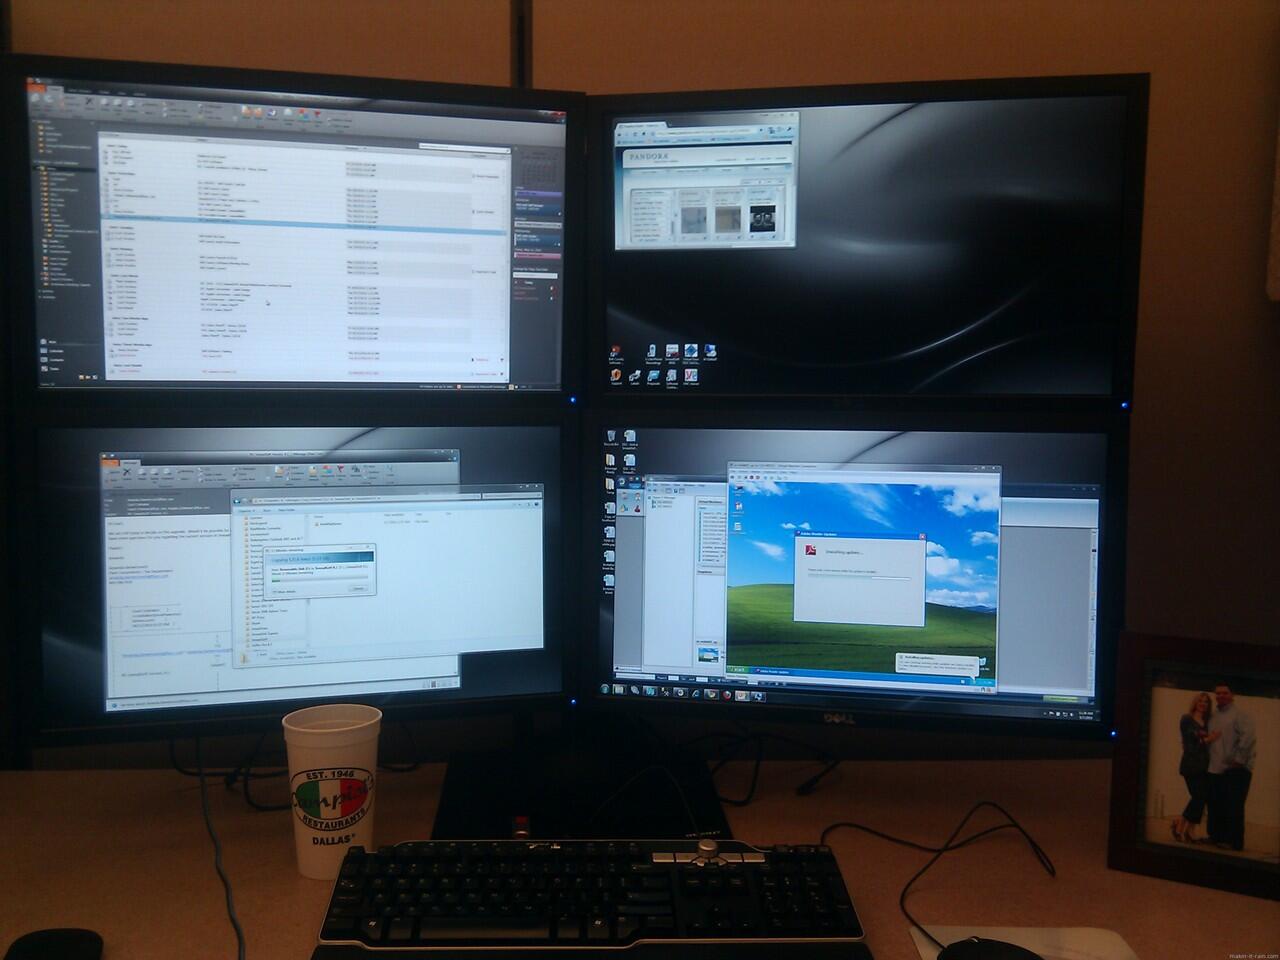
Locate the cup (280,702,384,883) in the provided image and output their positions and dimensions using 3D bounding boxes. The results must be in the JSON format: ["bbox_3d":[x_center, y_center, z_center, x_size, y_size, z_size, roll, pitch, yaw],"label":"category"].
[{"bbox_3d":[-0.373,0.384,1.446,0.124,0.179,0.121,0,2,0],"label":"cup"}]
